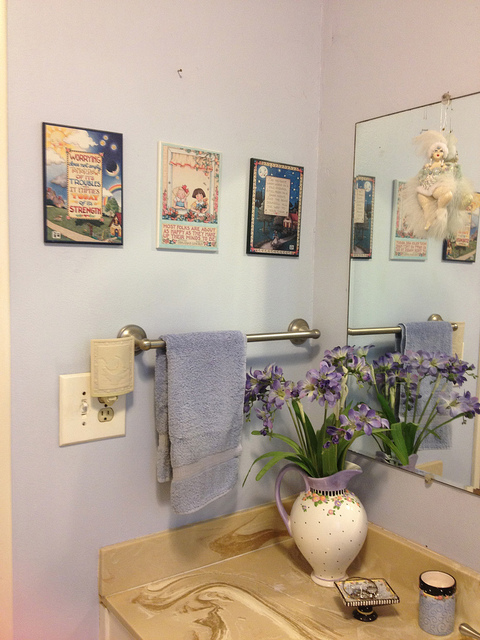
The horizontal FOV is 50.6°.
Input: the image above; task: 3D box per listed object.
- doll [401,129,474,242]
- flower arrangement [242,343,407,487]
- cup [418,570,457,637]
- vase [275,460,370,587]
[{"bbox_3d":[0.395,-0.263,1.023,0.077,0.194,0.141,-1,10,-16],"label":"doll"},{"bbox_3d":[0.162,0.196,1.101,0.342,0.358,0.337,-1,-2,-44],"label":"flower arrangement"},{"bbox_3d":[0.368,0.513,0.944,0.063,0.112,0.131,2,1,25],"label":"cup"},{"bbox_3d":[0.188,0.428,1.192,0.243,0.279,0.212,-1,-1,28],"label":"vase"}]
